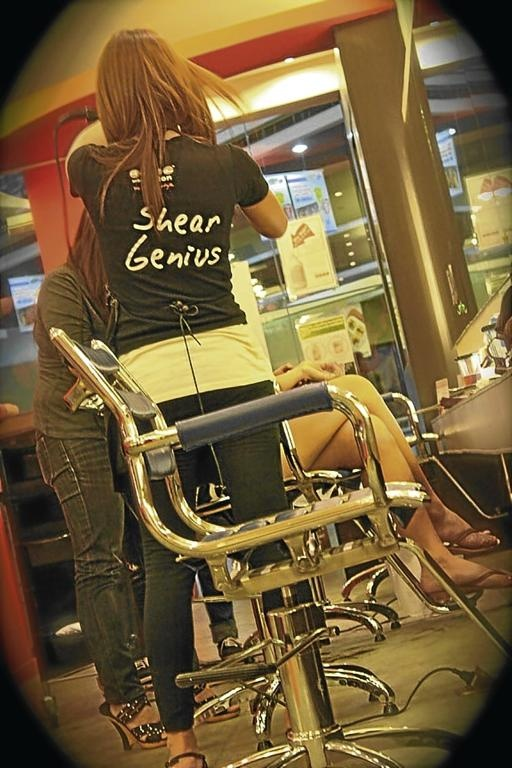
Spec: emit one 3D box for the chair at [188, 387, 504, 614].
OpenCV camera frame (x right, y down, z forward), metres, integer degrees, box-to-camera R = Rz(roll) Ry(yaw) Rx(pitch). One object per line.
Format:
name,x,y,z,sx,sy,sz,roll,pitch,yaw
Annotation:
chair,0.215,0.251,1.503,0.518,0.603,0.426,-7,-8,4

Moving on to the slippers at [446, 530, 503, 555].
slippers,0.465,0.339,1.316,0.133,0.053,0.049,-4,-4,4
